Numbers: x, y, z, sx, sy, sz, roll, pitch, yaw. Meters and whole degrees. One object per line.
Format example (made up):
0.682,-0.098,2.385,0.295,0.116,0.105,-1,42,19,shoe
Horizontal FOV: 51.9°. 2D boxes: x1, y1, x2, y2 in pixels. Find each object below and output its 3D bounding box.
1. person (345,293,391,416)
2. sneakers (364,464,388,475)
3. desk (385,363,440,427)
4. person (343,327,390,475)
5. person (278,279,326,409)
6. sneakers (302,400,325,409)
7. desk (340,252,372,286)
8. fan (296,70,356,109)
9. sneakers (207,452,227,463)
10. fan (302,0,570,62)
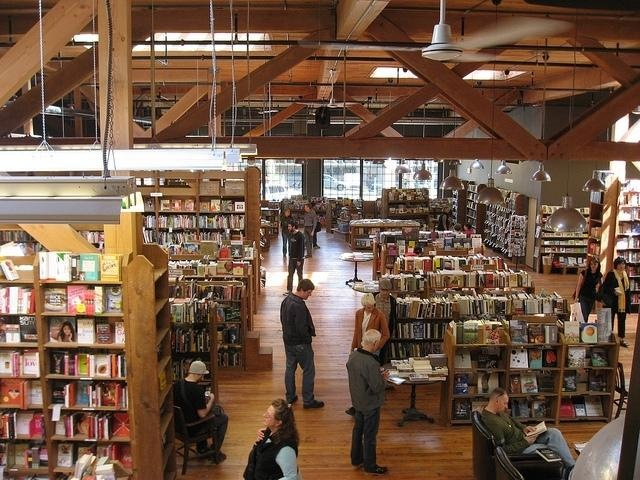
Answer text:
0.766,1.929,10.883,0.703,2.178,0.572,5,14,18,person
0.781,3.196,9.211,0.300,0.154,0.141,-3,6,-5,sneakers
1.445,2.442,10.374,0.879,0.693,0.916,-1,1,0,desk
0.643,2.249,9.163,0.528,2.014,0.444,0,-1,32,person
-0.309,1.704,10.893,0.662,2.130,0.718,0,-1,-1,person
-0.108,2.710,10.894,0.348,0.163,0.132,-2,5,-6,sneakers
1.010,0.798,18.526,0.836,0.682,0.873,1,6,0,desk
0.171,-3.977,17.227,1.400,0.568,2.062,0,4,0,fan
-1.479,3.128,9.420,0.262,0.119,0.133,1,11,4,sneakers
1.457,-2.981,9.239,2.201,0.999,2.465,6,14,32,fan
